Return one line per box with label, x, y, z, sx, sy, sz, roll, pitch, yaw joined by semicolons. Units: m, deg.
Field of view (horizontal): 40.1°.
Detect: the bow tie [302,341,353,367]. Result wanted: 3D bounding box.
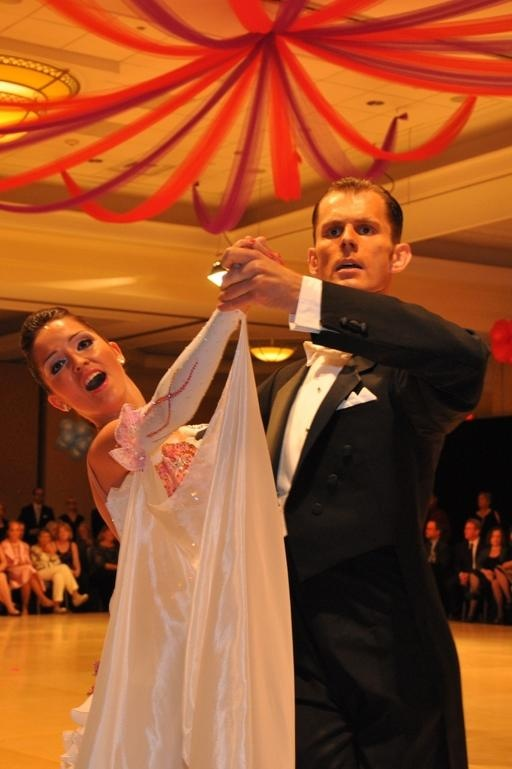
bow tie;0.144;-0.059;1.422;0.079;0.036;0.057;18;6;6
